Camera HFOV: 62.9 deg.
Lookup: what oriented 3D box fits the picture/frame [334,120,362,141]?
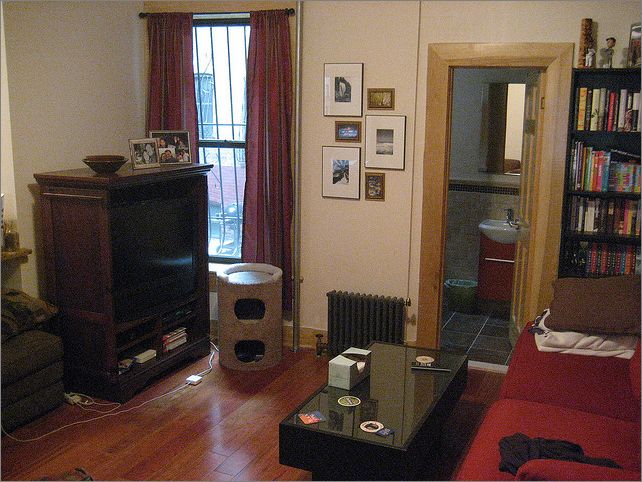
[{"bbox_3d":[0.241,-0.964,4.546,0.192,0.135,0.009,3,11,13],"label":"picture/frame"}]

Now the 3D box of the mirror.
[{"bbox_3d":[1.847,-1.235,5.858,0.763,1.328,0.302,3,16,15],"label":"mirror"}]

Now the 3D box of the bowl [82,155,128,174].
[{"bbox_3d":[-1.625,-0.575,3.913,0.199,0.070,0.187,0,3,0],"label":"bowl"}]

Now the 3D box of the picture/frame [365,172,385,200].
[{"bbox_3d":[0.470,-0.481,4.545,0.240,0.292,0.040,2,10,12],"label":"picture/frame"}]

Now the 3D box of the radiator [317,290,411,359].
[{"bbox_3d":[0.400,0.714,4.487,0.632,0.563,0.108,3,11,17],"label":"radiator"}]

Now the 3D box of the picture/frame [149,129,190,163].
[{"bbox_3d":[-1.271,-0.788,4.381,0.329,0.313,0.032,0,-1,-41],"label":"picture/frame"}]

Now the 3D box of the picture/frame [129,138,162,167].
[{"bbox_3d":[-1.404,-0.701,4.186,0.019,0.217,0.262,-2,7,33],"label":"picture/frame"}]

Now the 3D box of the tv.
[{"bbox_3d":[-1.369,0.139,4.204,0.379,0.953,1.069,4,7,19],"label":"tv"}]

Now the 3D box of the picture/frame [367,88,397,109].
[{"bbox_3d":[0.524,-1.204,4.421,0.191,0.138,0.014,3,8,15],"label":"picture/frame"}]

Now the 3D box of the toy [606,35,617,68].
[{"bbox_3d":[2.130,-1.395,3.869,0.067,0.218,0.129,7,17,26],"label":"toy"}]

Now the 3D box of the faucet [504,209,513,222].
[{"bbox_3d":[2.064,-0.282,5.733,0.086,0.134,0.221,5,15,19],"label":"faucet"}]

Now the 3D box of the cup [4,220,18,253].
[{"bbox_3d":[-2.261,-0.035,3.812,0.101,0.210,0.142,-9,17,-30],"label":"cup"}]

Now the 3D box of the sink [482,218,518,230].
[{"bbox_3d":[1.953,-0.194,5.756,0.393,0.087,0.277,7,16,27],"label":"sink"}]

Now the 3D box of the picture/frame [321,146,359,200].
[{"bbox_3d":[0.178,-0.618,4.609,0.483,0.582,0.044,2,6,14],"label":"picture/frame"}]
